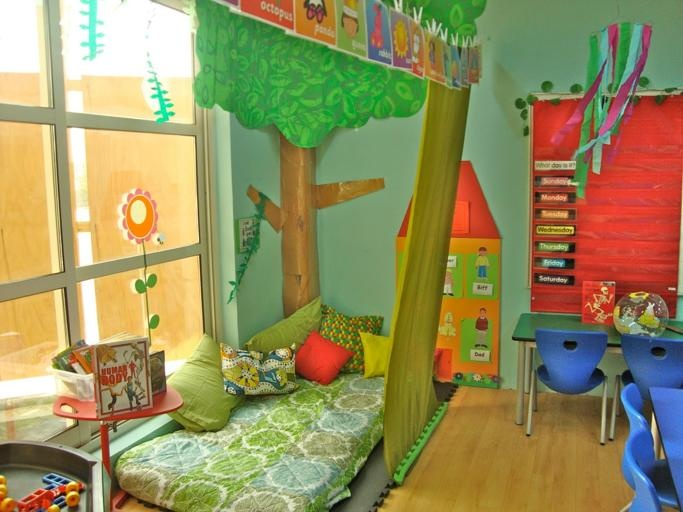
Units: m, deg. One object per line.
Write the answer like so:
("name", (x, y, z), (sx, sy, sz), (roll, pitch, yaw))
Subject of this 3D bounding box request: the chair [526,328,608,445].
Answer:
("chair", (1.761, 0.917, 3.922), (0.617, 0.900, 0.667), (-1, 11, 13))

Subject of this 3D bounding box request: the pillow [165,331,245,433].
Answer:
("pillow", (-0.970, 0.924, 3.695), (0.363, 0.471, 0.561), (2, 12, 9))

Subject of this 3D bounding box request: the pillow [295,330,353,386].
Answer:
("pillow", (-0.175, 0.862, 4.372), (0.387, 0.320, 0.387), (8, 14, 34))

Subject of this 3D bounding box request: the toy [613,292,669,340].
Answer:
("toy", (2.235, 0.452, 3.784), (0.342, 0.318, 0.263), (2, 12, 10))

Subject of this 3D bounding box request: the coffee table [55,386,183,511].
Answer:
("coffee table", (-1.276, 0.896, 2.982), (0.684, 0.748, 0.718), (0, 15, -11))

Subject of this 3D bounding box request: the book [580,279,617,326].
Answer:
("book", (2.131, 0.391, 4.179), (0.322, 0.501, 0.055), (4, 3, 26))
